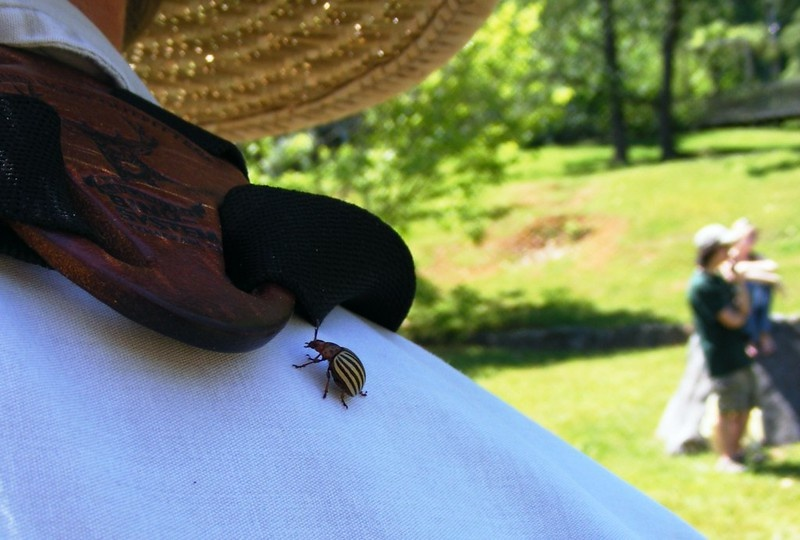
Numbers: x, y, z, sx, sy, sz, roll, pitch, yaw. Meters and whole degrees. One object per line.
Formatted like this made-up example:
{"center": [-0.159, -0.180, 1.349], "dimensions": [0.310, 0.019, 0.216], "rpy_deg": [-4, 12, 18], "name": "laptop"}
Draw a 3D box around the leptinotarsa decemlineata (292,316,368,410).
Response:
{"center": [-0.078, 0.123, 1.015], "dimensions": [0.101, 0.059, 0.115], "rpy_deg": [35, 20, 21], "name": "leptinotarsa decemlineata"}
